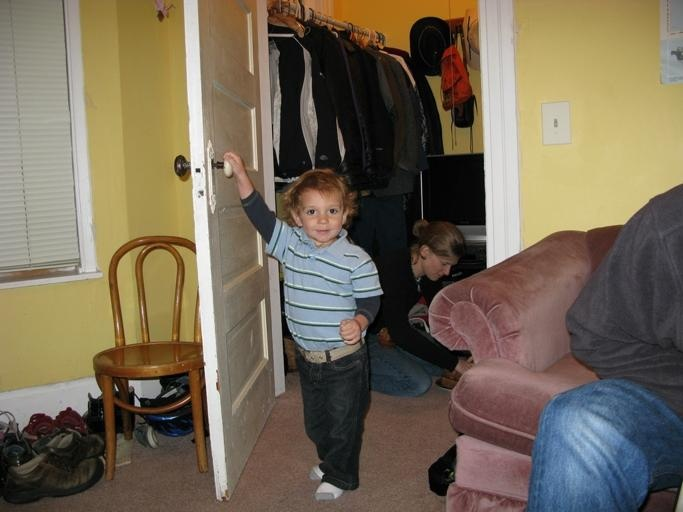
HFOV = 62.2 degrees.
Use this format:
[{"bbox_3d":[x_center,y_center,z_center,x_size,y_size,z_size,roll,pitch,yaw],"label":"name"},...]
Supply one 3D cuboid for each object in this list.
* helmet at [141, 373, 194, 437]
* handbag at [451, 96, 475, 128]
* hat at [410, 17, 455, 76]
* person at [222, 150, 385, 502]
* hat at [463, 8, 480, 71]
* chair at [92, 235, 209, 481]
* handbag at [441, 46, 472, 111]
[{"bbox_3d":[-0.756,0.676,2.549,0.267,0.156,0.216,-1,23,27],"label":"helmet"},{"bbox_3d":[0.922,-1.072,4.290,0.140,0.240,0.220,5,-20,14],"label":"handbag"},{"bbox_3d":[0.677,-1.589,4.269,0.297,0.411,0.203,4,15,36],"label":"hat"},{"bbox_3d":[-0.095,0.234,2.214,0.485,1.315,0.400,4,15,34],"label":"person"},{"bbox_3d":[0.923,-1.550,4.039,0.094,0.385,0.326,-2,13,12],"label":"hat"},{"bbox_3d":[-0.844,0.398,2.511,0.471,0.903,0.781,-8,13,-14],"label":"chair"},{"bbox_3d":[0.828,-1.307,4.127,0.226,0.439,0.212,2,14,27],"label":"handbag"}]
